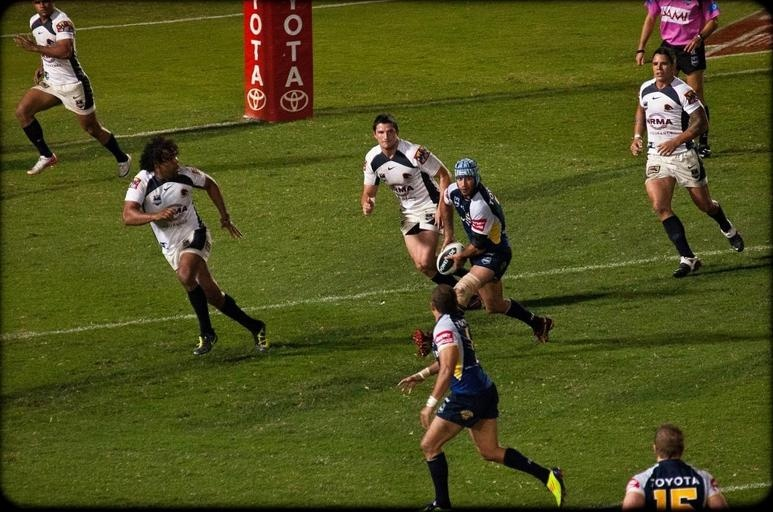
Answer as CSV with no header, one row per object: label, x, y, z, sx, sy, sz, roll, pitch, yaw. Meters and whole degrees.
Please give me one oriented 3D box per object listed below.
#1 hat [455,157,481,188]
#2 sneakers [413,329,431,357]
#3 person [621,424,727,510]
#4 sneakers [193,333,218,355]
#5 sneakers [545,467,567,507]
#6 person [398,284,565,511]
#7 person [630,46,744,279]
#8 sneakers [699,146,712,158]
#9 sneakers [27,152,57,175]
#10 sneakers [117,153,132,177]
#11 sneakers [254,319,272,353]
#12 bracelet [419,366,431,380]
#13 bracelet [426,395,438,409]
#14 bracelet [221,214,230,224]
hat,0.948,-1.028,13.850,0.331,0.316,0.377,-2,-5,2
sneakers,0.414,1.018,13.560,0.312,0.322,0.140,-5,11,-2
person,2.888,2.156,11.672,1.005,1.564,0.605,-2,26,7
sneakers,-2.217,1.099,14.329,0.161,0.168,0.402,24,45,23
sneakers,1.775,2.383,12.072,0.170,0.422,0.187,-19,0,-27
person,0.895,1.460,12.198,1.414,2.304,1.071,-9,19,0
person,3.987,-1.310,15.606,1.049,2.947,1.225,-8,19,4
sneakers,5.146,-1.692,18.811,0.115,0.122,0.290,-3,-11,15
sneakers,-5.623,-1.524,19.085,0.494,0.161,0.212,-30,-31,4
sneakers,-4.227,-1.488,18.928,0.196,0.440,0.204,9,28,-6
sneakers,-1.540,0.988,14.462,0.174,0.386,0.192,-4,13,2
bracelet,0.417,1.228,12.285,0.127,0.105,0.136,-7,-15,11
bracelet,0.466,1.512,12.070,0.124,0.104,0.138,26,-3,-3
bracelet,-2.029,-0.484,14.730,0.126,0.105,0.133,5,7,34
